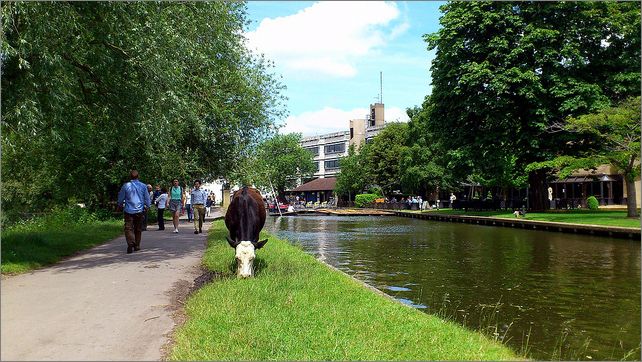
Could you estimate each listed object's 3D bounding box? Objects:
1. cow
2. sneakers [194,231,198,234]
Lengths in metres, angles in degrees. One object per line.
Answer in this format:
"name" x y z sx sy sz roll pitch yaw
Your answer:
"cow" -2.872 1.859 16.813 1.520 3.054 4.342 1 8 -9
"sneakers" -7.280 3.008 25.321 0.199 0.103 0.195 1 0 27
